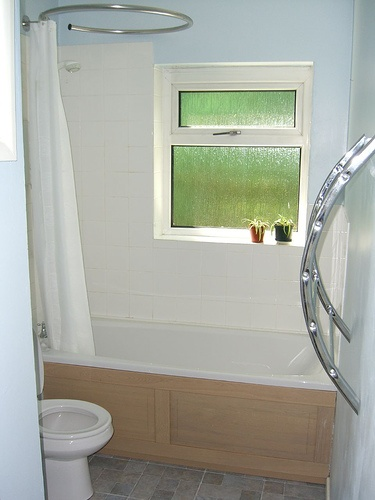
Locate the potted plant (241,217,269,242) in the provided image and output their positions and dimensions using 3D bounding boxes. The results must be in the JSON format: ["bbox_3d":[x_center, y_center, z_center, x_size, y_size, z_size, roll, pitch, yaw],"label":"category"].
[{"bbox_3d":[0.462,-0.147,3.035,0.154,0.122,0.158,6,12,25],"label":"potted plant"}]

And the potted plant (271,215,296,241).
[{"bbox_3d":[0.628,-0.152,2.957,0.149,0.153,0.152,-1,6,-12],"label":"potted plant"}]
